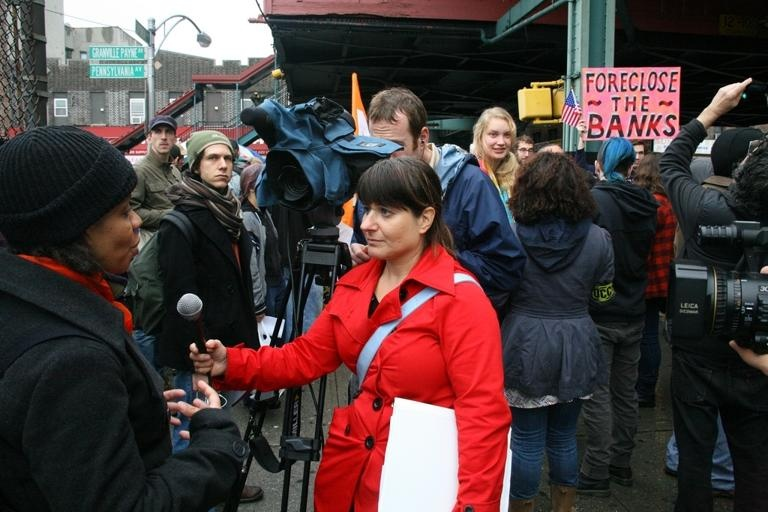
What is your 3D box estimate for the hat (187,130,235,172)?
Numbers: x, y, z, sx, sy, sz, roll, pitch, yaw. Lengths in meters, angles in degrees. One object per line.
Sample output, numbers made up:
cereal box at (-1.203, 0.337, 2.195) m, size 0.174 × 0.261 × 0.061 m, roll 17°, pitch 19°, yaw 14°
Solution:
hat at (-1.402, -0.846, 5.673) m, size 0.352 × 0.291 × 0.273 m, roll -18°, pitch 5°, yaw 1°
